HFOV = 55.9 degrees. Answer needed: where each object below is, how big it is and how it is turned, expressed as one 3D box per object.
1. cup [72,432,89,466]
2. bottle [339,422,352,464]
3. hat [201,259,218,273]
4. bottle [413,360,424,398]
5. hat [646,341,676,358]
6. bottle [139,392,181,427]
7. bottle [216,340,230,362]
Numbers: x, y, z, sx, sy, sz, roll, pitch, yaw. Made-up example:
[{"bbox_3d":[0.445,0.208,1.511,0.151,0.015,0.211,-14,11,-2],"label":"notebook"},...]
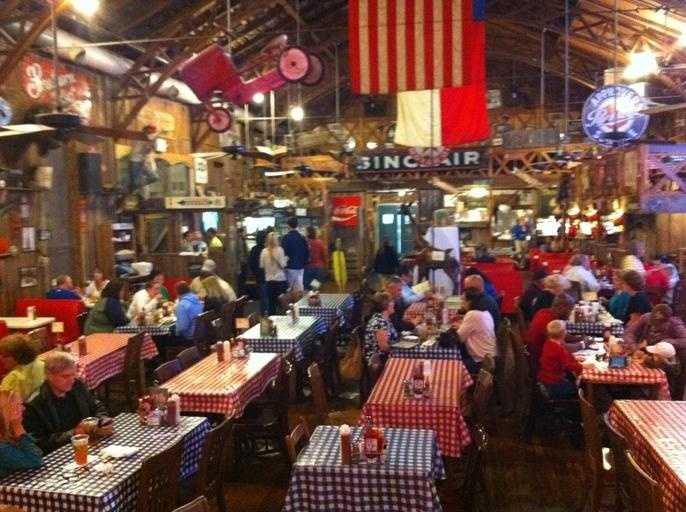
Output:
[{"bbox_3d":[-2.224,1.651,5.520,0.133,0.248,0.132,-1,5,0],"label":"cup"},{"bbox_3d":[-0.007,1.607,5.488,0.106,0.295,0.119,-15,-17,22],"label":"bottle"},{"bbox_3d":[-2.726,0.206,13.031,0.186,0.243,0.249,11,-10,8],"label":"hat"},{"bbox_3d":[0.745,1.278,6.621,0.114,0.247,0.219,-1,5,6],"label":"bottle"},{"bbox_3d":[3.612,1.077,7.465,0.261,0.105,0.170,0,0,29],"label":"hat"},{"bbox_3d":[-1.774,1.444,6.170,0.422,0.334,0.154,0,5,7],"label":"bottle"},{"bbox_3d":[-1.421,1.142,7.830,0.225,0.208,0.164,-1,5,-7],"label":"bottle"}]
